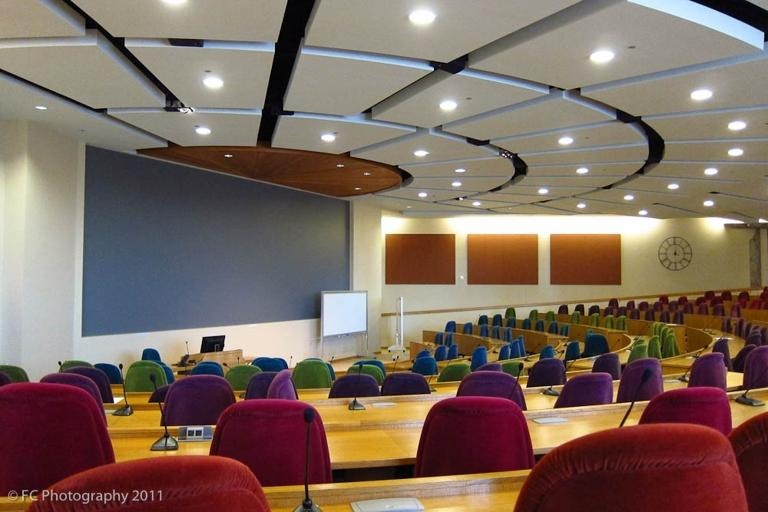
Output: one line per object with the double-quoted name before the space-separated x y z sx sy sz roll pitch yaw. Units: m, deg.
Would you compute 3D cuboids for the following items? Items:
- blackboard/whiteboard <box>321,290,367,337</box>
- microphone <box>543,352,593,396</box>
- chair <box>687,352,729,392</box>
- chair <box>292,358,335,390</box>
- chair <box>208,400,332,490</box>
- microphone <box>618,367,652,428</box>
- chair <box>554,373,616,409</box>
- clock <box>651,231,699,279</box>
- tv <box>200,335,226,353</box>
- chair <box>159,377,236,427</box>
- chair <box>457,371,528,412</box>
"blackboard/whiteboard" -1.088 1.453 14.197 0.121 0.796 1.203 -6 -9 36
"microphone" 1.813 1.303 5.724 0.255 0.652 0.228 9 -11 -11
"chair" 3.194 1.129 5.482 0.533 0.377 0.243 1 -4 -29
"chair" -0.885 1.492 7.126 0.438 0.587 0.485 1 -3 1
"chair" -0.650 1.103 3.400 0.460 0.634 0.592 -1 -10 1
"microphone" 1.982 1.121 4.458 0.095 0.676 0.081 28 34 28
"chair" 1.756 1.158 4.973 0.331 0.456 0.392 1 -7 -6
"clock" 9.645 -0.067 18.617 1.374 1.190 0.241 1 -4 -22
"tv" -3.314 1.698 10.761 0.340 0.296 0.047 9 -10 -37
"chair" -1.460 1.119 4.305 0.503 0.309 0.468 1 -6 -2
"chair" 0.897 1.081 4.631 0.379 0.496 0.427 0 -8 3
